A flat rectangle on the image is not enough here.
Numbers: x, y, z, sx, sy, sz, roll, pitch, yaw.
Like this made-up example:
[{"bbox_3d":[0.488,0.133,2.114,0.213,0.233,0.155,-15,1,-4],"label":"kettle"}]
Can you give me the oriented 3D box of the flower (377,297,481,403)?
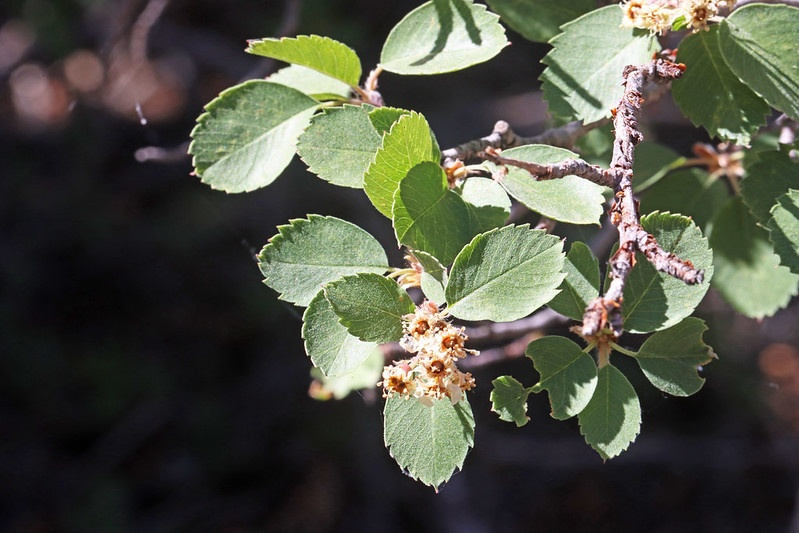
[{"bbox_3d":[0.136,0.328,3.599,0.413,0.446,0.202,-12,6,11],"label":"flower"}]
